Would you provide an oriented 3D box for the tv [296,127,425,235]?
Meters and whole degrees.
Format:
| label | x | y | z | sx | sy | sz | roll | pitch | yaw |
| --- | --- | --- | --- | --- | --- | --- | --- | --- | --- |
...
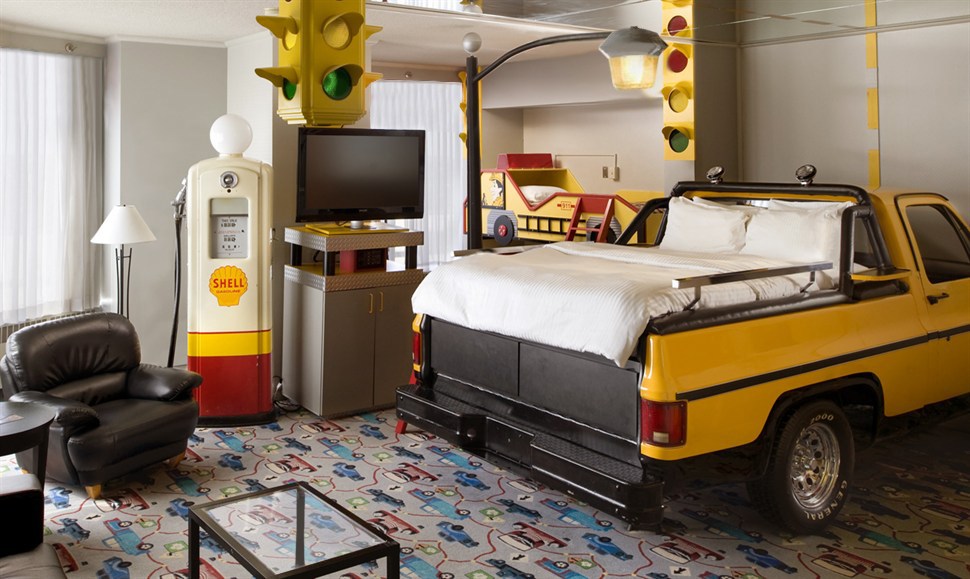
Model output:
| label | x | y | z | sx | sy | sz | roll | pitch | yaw |
| --- | --- | --- | --- | --- | --- | --- | --- | --- | --- |
| tv | -1.270 | -1.108 | 6.706 | 1.354 | 0.806 | 0.127 | -1 | 6 | -23 |
